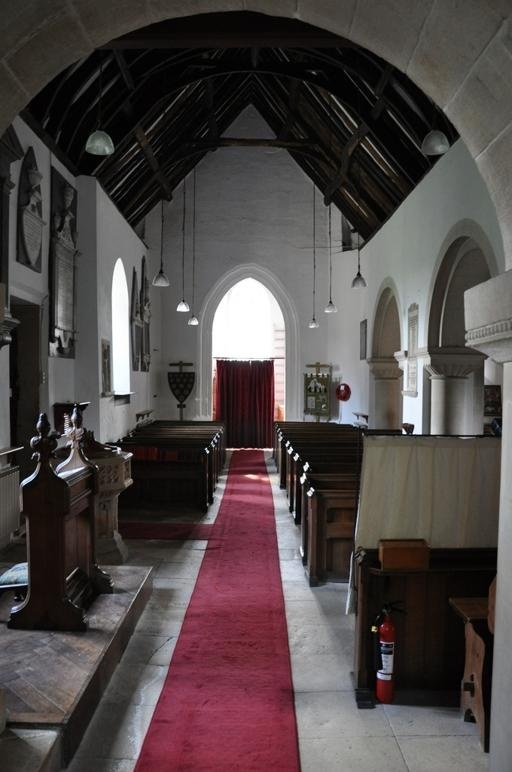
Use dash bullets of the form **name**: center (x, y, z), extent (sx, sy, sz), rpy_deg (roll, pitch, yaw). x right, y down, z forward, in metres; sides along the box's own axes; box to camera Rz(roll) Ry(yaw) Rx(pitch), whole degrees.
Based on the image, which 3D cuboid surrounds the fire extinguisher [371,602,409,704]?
- **fire extinguisher**: center (0.638, 1.279, 2.858), extent (0.138, 0.454, 0.255), rpy_deg (0, -1, 21)

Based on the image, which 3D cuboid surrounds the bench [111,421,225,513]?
- **bench**: center (-1.141, 1.109, 8.219), extent (1.232, 0.597, 2.710), rpy_deg (1, -1, -6)
